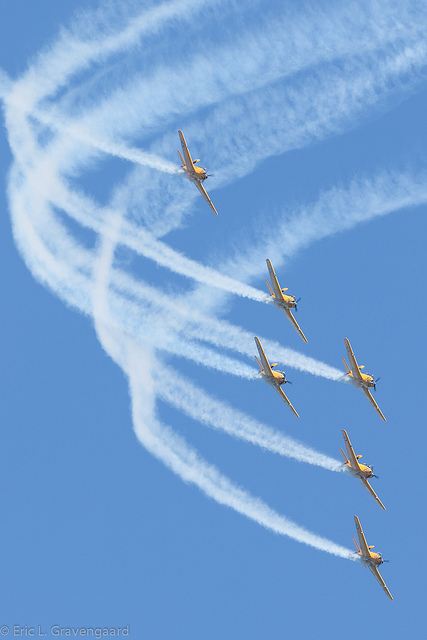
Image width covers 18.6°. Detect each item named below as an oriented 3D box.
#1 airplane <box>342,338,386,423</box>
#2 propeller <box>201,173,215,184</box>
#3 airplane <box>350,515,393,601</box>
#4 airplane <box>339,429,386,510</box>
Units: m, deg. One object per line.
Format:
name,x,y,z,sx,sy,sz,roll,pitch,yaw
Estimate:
airplane,10.791,4.352,94.293,2.189,3.388,5.867,-9,-47,11
propeller,-0.298,-10.151,94.033,0.459,1.789,0.608,-17,-85,11
airplane,11.514,16.806,94.481,1.895,4.984,4.850,-13,-47,15
airplane,10.828,10.673,94.929,1.576,4.448,5.367,-24,-50,24
